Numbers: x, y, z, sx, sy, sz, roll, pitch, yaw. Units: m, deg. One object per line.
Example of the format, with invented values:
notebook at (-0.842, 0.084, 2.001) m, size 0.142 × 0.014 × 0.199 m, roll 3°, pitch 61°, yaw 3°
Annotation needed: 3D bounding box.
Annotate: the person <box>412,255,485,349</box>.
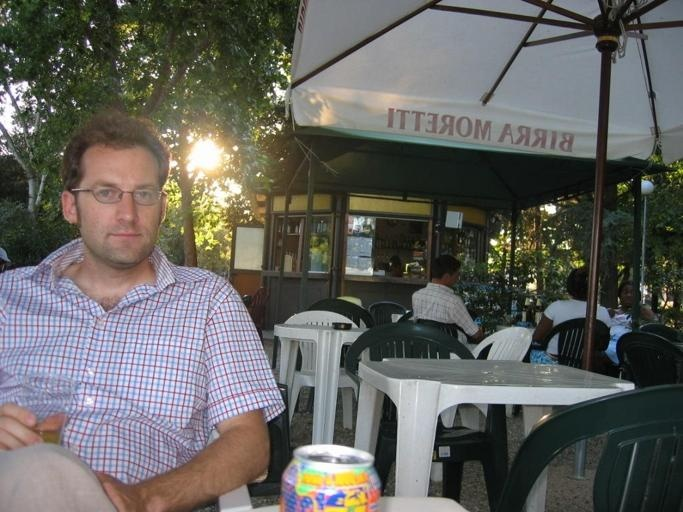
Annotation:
person at (1.200, 0.479, 6.274) m, size 0.623 × 1.132 × 0.718 m, roll -21°, pitch 24°, yaw -40°
